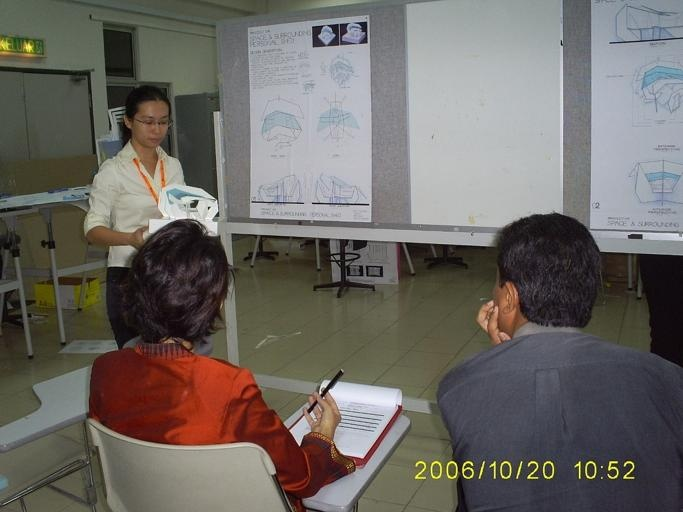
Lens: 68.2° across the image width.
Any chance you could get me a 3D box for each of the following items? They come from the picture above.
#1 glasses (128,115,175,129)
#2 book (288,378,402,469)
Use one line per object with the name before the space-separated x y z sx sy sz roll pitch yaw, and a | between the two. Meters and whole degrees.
glasses | -1.008 -0.712 2.708 0.208 0.052 0.121 -9 15 -30
book | 0.058 0.539 1.627 0.212 0.063 0.258 3 17 22
